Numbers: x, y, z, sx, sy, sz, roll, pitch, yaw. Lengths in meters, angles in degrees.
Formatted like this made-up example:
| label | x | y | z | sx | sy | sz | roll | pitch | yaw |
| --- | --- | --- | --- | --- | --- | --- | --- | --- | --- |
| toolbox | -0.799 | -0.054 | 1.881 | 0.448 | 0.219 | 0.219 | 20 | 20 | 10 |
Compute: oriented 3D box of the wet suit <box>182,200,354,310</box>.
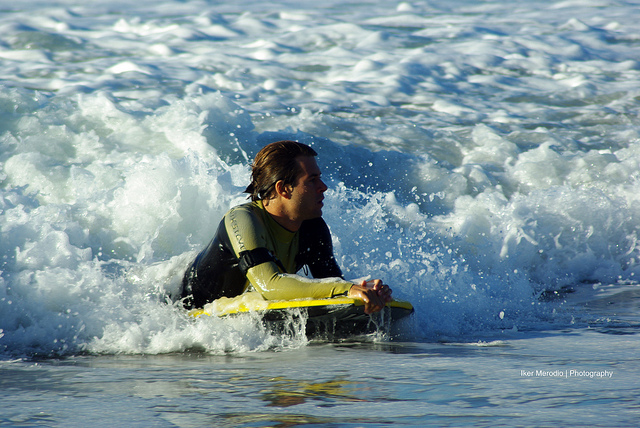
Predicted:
| label | x | y | z | sx | sy | sz | roll | pitch | yaw |
| --- | --- | --- | --- | --- | --- | --- | --- | --- | --- |
| wet suit | -0.464 | 0.450 | 8.963 | 1.328 | 0.844 | 2.007 | 7 | -9 | -40 |
